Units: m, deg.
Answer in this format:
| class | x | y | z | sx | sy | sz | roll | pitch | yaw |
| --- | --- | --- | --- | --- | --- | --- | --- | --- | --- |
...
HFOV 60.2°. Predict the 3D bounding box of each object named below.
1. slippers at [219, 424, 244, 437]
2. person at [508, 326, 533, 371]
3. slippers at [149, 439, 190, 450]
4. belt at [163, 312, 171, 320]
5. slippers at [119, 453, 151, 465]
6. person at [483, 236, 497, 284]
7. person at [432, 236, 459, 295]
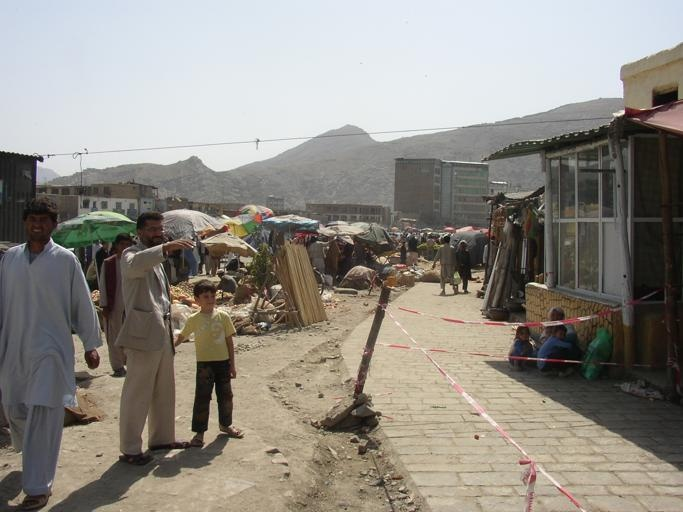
| class | x | y | z | sx | sy | sz | roll | pitch | yaw |
| --- | --- | --- | --- | --- | --- | --- | --- | --- | --- |
| slippers | -1.142 | 1.831 | 6.180 | 0.276 | 0.099 | 0.102 | 3 | 7 | -2 |
| person | 2.680 | 1.367 | 8.840 | 0.361 | 0.661 | 0.959 | -2 | 10 | 18 |
| slippers | -1.676 | 1.852 | 5.750 | 0.355 | 0.088 | 0.122 | -5 | -1 | -12 |
| belt | -1.685 | 0.579 | 5.683 | 0.049 | 0.050 | 0.060 | 0 | -7 | 1 |
| slippers | -1.908 | 1.874 | 5.450 | 0.220 | 0.062 | 0.120 | 0 | 4 | 18 |
| person | 4.209 | 0.180 | 16.778 | 0.424 | 1.503 | 1.826 | -3 | 10 | 14 |
| person | 3.263 | 0.266 | 18.479 | 0.600 | 1.873 | 1.108 | -3 | 10 | 10 |
